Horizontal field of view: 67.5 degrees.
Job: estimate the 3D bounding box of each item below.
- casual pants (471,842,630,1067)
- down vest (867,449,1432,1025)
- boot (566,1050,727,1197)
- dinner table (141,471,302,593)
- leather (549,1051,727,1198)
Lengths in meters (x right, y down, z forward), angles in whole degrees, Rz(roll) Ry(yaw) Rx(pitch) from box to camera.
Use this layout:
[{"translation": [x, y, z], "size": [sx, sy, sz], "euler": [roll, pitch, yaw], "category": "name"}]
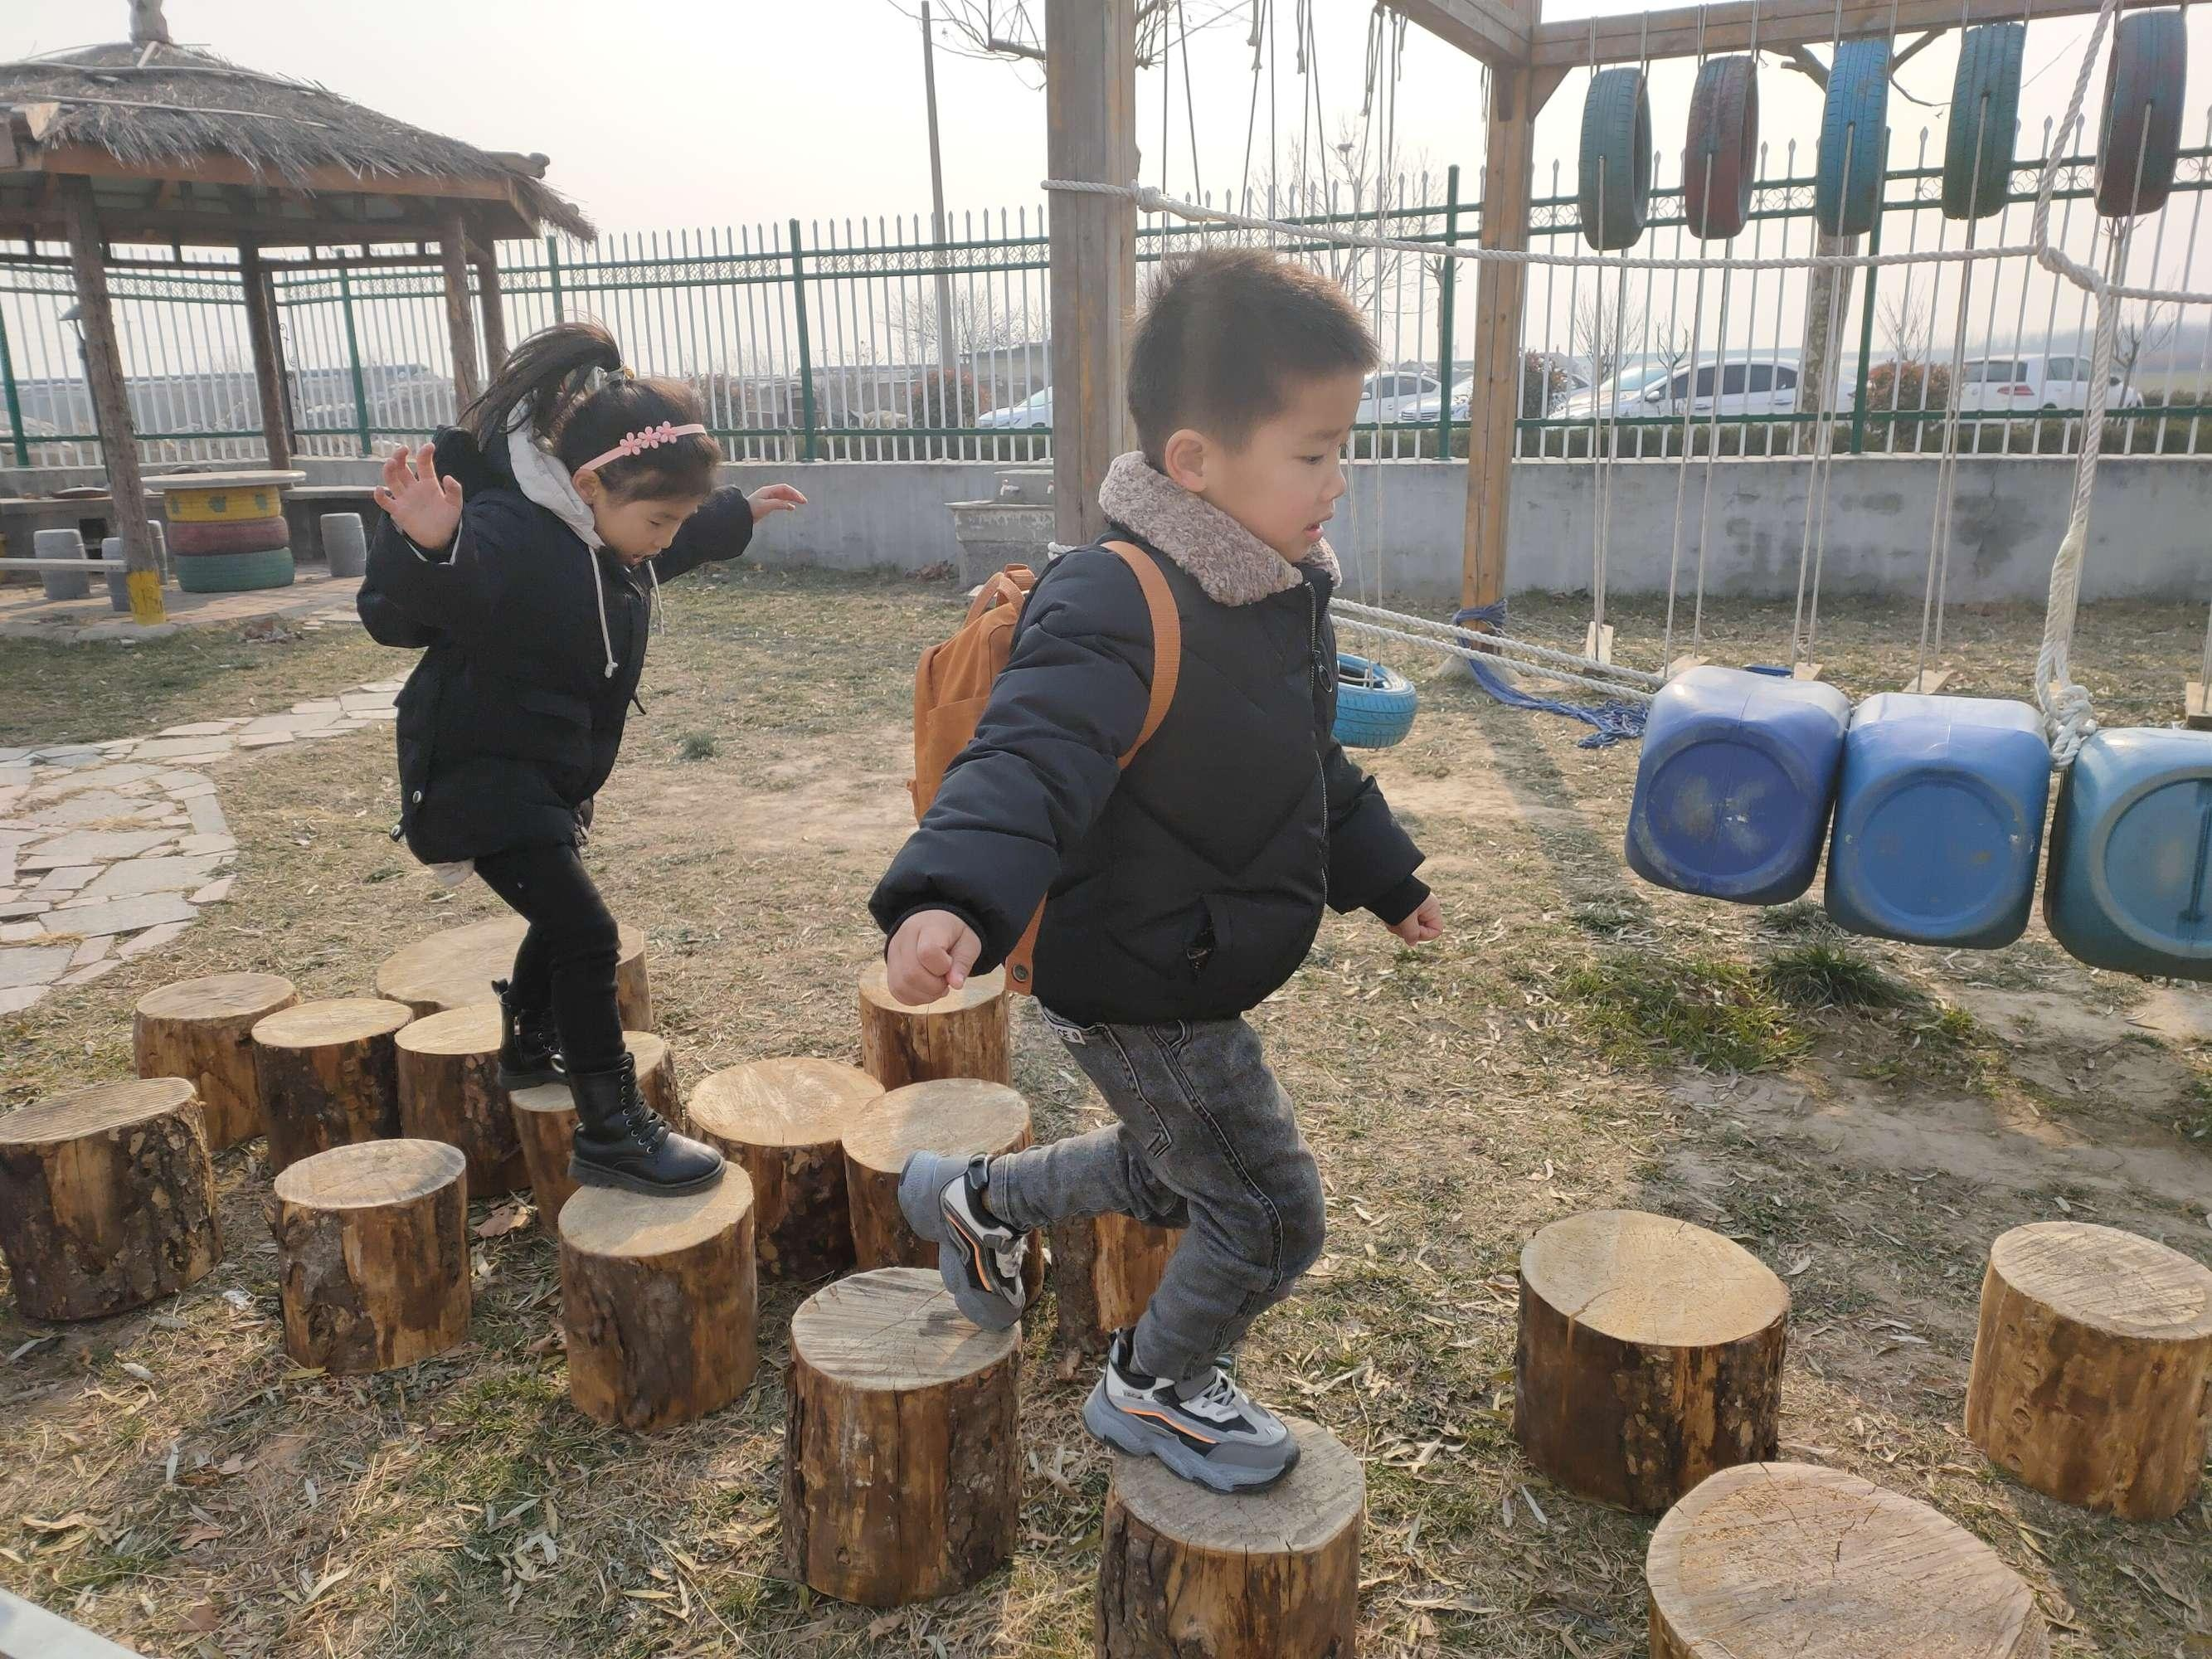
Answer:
[{"translation": [-1.347, 0.324, 3.984], "size": [0.250, 0.608, 0.202], "euler": [-18, 46, -27], "category": "casual pants"}, {"translation": [0.087, -0.142, 2.807], "size": [0.394, 0.945, 1.151], "euler": [14, 22, 40], "category": "down vest"}, {"translation": [-0.965, 0.676, 3.765], "size": [0.439, 0.323, 0.188], "euler": [6, 19, 4], "category": "boot"}, {"translation": [-6.964, -2.337, 13.277], "size": [1.047, 0.815, 1.062], "euler": [2, 16, 1], "category": "dinner table"}, {"translation": [-1.044, 0.645, 3.747], "size": [0.440, 0.324, 0.191], "euler": [6, 20, 3], "category": "leather"}]
